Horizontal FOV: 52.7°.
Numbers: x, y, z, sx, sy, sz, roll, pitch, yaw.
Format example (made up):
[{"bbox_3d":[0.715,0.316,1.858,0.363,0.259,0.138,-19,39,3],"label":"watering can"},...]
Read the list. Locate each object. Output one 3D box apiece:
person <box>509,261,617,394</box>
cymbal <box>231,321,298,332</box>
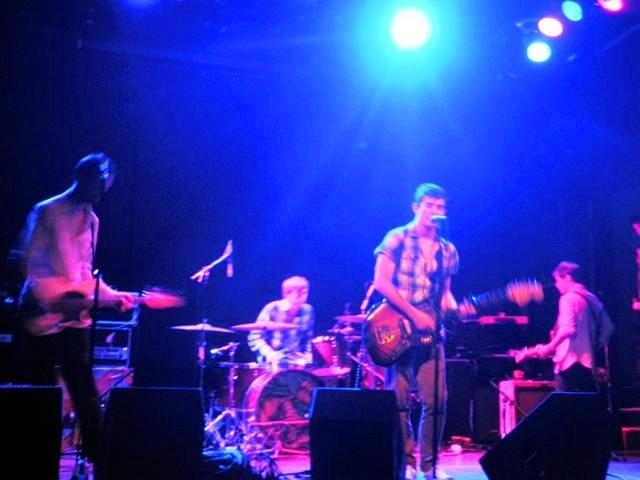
[{"bbox_3d":[3.107,1.159,8.206,0.871,2.060,0.842,22,-25,-27],"label":"person"},{"bbox_3d":[-0.682,1.072,8.083,0.777,0.119,0.751,4,-12,-2],"label":"cymbal"}]
